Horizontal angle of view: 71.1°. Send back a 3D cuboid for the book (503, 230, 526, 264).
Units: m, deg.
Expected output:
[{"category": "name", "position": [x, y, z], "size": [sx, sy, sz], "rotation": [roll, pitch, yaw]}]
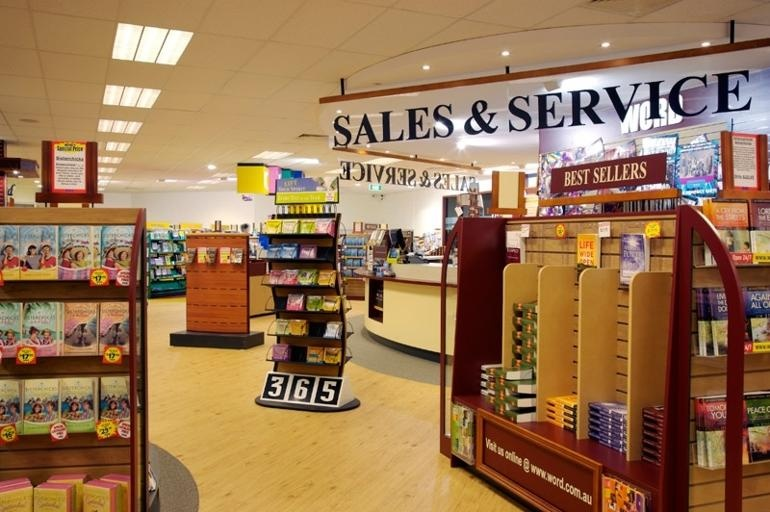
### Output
[{"category": "book", "position": [1.235, -0.091, 5.092], "size": [0.050, 0.469, 0.268], "rotation": [-4, 8, -27]}]
